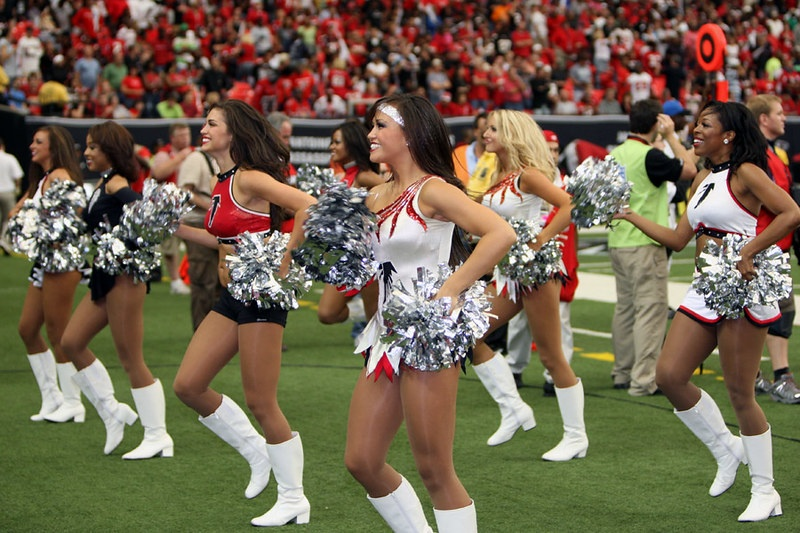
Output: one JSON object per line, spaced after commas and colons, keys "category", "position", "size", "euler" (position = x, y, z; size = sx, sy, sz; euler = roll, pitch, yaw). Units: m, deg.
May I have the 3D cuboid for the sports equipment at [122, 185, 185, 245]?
{"category": "sports equipment", "position": [-1.621, -0.346, 5.525], "size": [0.374, 0.345, 0.401], "euler": [12, 9, -18]}

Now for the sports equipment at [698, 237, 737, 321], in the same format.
{"category": "sports equipment", "position": [1.901, 0.062, 4.960], "size": [0.281, 0.484, 0.218], "euler": [3, 9, 20]}

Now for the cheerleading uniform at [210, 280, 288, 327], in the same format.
{"category": "cheerleading uniform", "position": [-0.884, 0.236, 4.958], "size": [0.326, 0.124, 0.246], "euler": [16, -4, -17]}

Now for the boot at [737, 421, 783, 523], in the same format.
{"category": "boot", "position": [2.154, 1.221, 4.946], "size": [0.248, 0.494, 0.312], "euler": [4, 10, 23]}

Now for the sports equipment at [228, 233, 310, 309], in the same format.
{"category": "sports equipment", "position": [-0.776, 0.038, 4.904], "size": [0.524, 0.460, 0.312], "euler": [0, 9, 1]}

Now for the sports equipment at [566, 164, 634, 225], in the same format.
{"category": "sports equipment", "position": [1.437, -0.442, 5.759], "size": [0.202, 0.440, 0.401], "euler": [22, -47, -41]}

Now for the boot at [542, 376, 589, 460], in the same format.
{"category": "boot", "position": [1.162, 1.058, 5.825], "size": [0.315, 0.509, 0.305], "euler": [2, 9, 12]}

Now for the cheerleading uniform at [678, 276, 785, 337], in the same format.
{"category": "cheerleading uniform", "position": [1.971, 0.190, 5.007], "size": [0.595, 0.170, 0.612], "euler": [3, 2, 29]}

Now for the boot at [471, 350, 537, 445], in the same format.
{"category": "boot", "position": [0.749, 0.974, 6.186], "size": [0.447, 0.634, 0.267], "euler": [-22, 21, 10]}

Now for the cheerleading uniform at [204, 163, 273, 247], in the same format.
{"category": "cheerleading uniform", "position": [-1.034, -0.365, 5.154], "size": [0.362, 0.487, 0.386], "euler": [-3, 7, 23]}

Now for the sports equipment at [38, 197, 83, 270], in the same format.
{"category": "sports equipment", "position": [-2.468, -0.222, 6.109], "size": [0.388, 0.497, 0.316], "euler": [-1, -6, 42]}

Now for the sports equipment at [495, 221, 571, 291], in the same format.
{"category": "sports equipment", "position": [0.856, -0.032, 5.911], "size": [0.433, 0.431, 0.495], "euler": [1, -1, -20]}

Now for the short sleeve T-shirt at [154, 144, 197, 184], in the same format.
{"category": "short sleeve T-shirt", "position": [-2.791, -1.256, 10.313], "size": [0.496, 0.606, 1.486], "euler": [2, 2, -21]}

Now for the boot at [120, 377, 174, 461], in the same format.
{"category": "boot", "position": [-1.762, 1.033, 5.777], "size": [0.341, 0.540, 0.217], "euler": [-3, 9, -17]}

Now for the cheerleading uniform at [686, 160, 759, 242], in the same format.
{"category": "cheerleading uniform", "position": [1.976, -0.400, 5.204], "size": [0.287, 0.461, 0.355], "euler": [-9, 10, -37]}

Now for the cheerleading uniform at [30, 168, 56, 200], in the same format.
{"category": "cheerleading uniform", "position": [-2.770, -0.637, 6.460], "size": [0.052, 0.200, 0.141], "euler": [21, -4, -9]}
